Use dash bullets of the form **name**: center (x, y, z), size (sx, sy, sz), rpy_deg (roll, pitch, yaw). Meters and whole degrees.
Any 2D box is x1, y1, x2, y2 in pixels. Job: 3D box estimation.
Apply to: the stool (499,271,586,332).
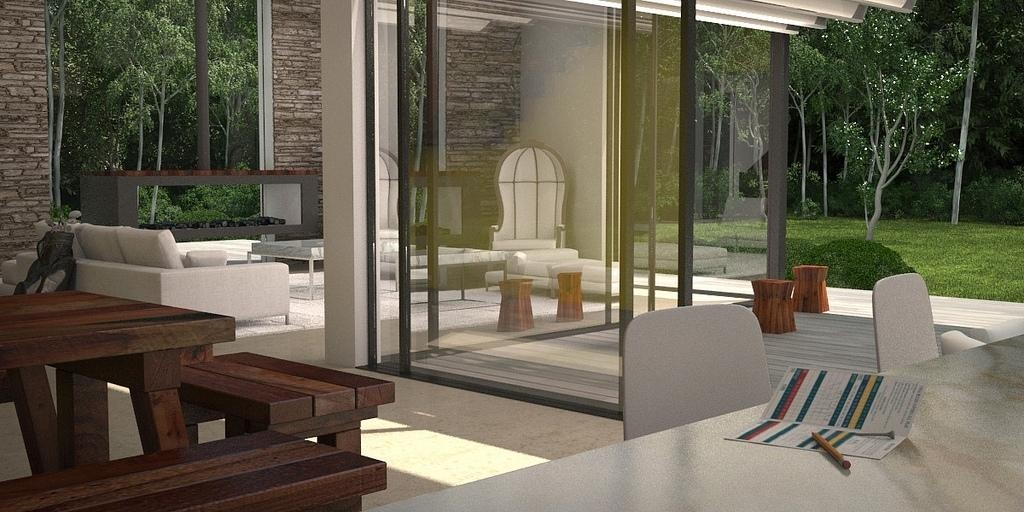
- **stool**: center (0.283, 0.375, 5.714), size (0.640, 0.313, 0.269), rpy_deg (2, 11, 25)
